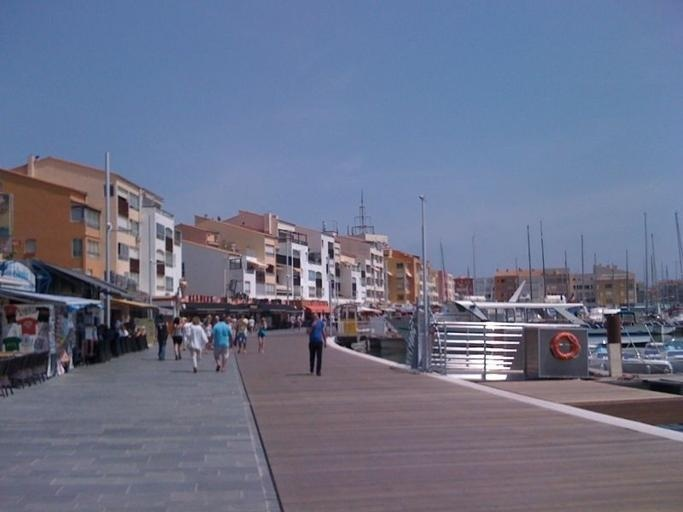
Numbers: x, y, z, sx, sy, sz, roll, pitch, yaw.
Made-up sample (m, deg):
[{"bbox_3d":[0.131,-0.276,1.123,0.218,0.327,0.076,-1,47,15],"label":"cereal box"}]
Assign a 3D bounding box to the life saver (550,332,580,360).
[{"bbox_3d":[6.863,2.774,23.124,0.989,0.860,0.336,2,-7,-18],"label":"life saver"}]
